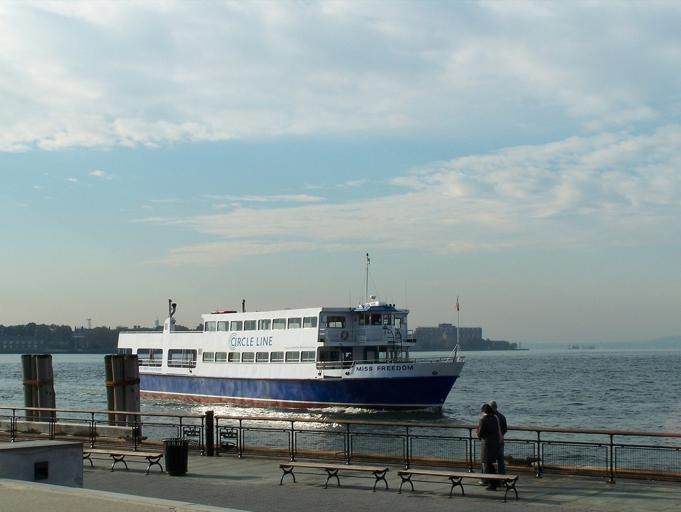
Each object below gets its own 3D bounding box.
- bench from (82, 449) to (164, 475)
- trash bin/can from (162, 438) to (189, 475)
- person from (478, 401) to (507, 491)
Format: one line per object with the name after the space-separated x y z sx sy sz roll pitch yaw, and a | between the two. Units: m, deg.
-8.169 7.692 48.110 3.017 0.738 3.378 2 -4 -9 | bench
-6.031 7.409 46.883 0.895 1.277 0.689 3 -5 -6 | trash bin/can
5.430 6.492 45.395 1.013 2.517 0.561 3 -5 -3 | person
